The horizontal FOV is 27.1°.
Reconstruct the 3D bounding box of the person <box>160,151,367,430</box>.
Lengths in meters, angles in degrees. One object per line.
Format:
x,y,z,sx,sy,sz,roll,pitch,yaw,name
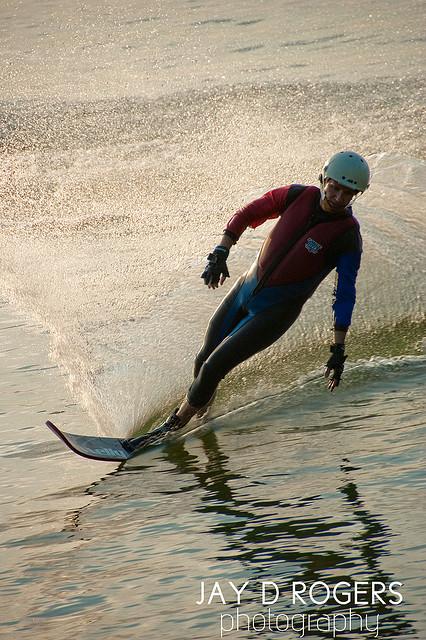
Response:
0.307,-0.200,4.634,1.015,1.148,0.924,-1,43,16,person
